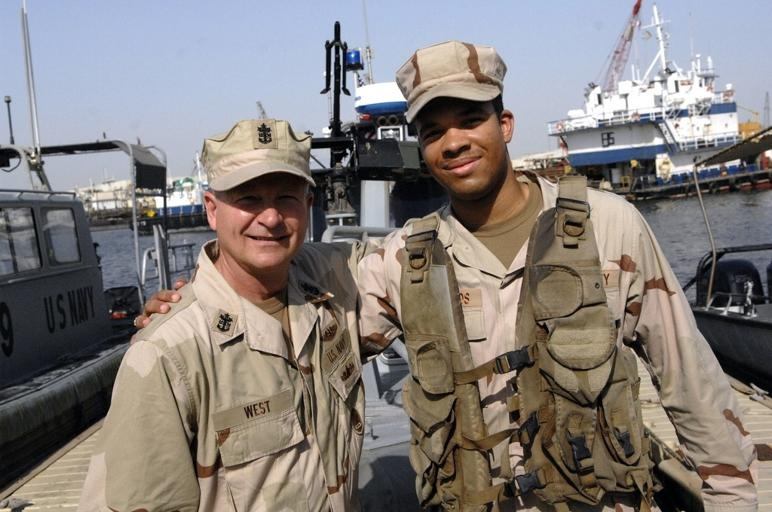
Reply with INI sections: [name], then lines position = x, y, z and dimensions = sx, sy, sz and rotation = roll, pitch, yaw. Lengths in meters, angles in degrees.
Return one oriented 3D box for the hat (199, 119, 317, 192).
[hat]
position = -0.729, -0.543, 3.694
dimensions = 0.634, 0.424, 0.810
rotation = -1, 5, -15
